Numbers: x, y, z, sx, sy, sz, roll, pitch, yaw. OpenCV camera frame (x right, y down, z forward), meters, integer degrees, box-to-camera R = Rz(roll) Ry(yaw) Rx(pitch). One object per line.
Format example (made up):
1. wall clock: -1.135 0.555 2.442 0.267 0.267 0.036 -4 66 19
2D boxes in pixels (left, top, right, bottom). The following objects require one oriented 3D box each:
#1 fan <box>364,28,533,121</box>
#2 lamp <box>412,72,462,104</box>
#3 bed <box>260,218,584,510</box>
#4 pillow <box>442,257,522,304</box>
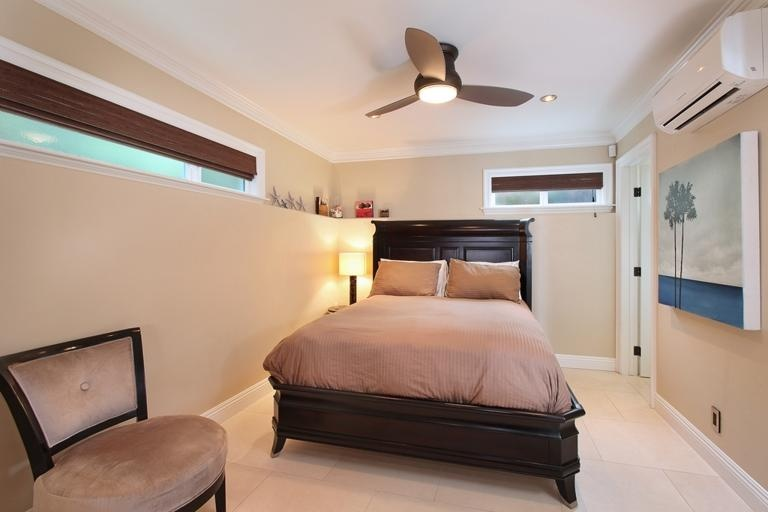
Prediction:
1. fan: 0.467 -1.360 3.817 0.728 0.190 0.663 -11 -27 30
2. lamp: 0.403 -1.330 3.902 0.336 0.173 0.316 -1 2 -45
3. bed: 0.482 0.664 4.796 2.434 2.117 2.389 1 2 13
4. pillow: 1.085 0.270 5.325 0.717 0.436 0.271 3 -12 8
